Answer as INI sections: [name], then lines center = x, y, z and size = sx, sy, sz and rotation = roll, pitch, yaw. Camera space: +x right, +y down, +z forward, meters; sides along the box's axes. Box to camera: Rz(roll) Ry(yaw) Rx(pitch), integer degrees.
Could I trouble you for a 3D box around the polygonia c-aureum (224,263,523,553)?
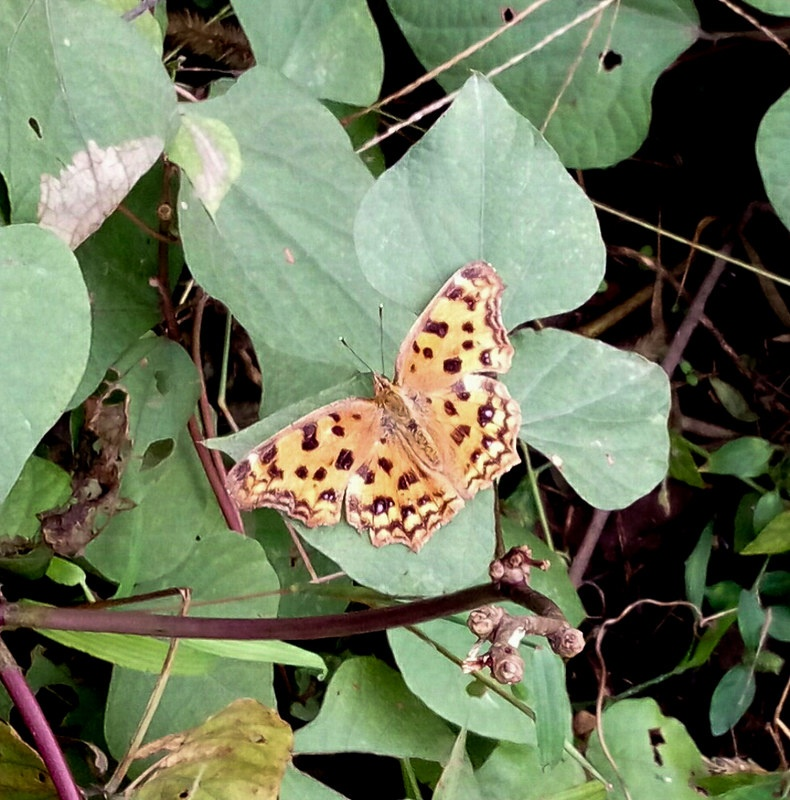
[polygonia c-aureum]
center = 0.008, 0.046, 1.001
size = 0.321, 0.122, 0.166
rotation = -40, 80, -3
